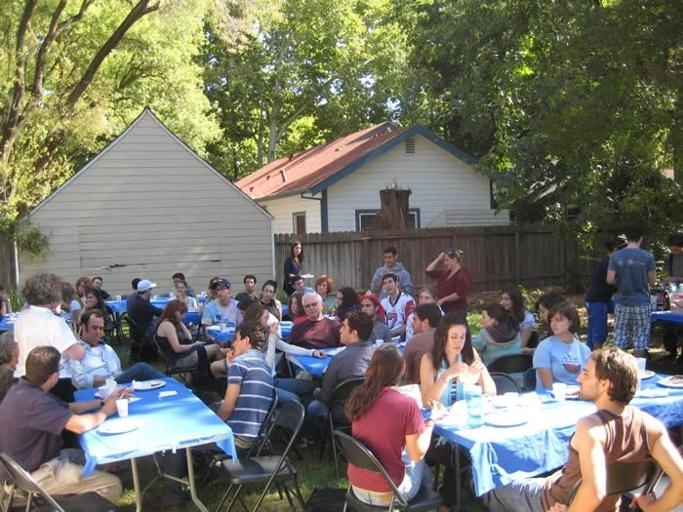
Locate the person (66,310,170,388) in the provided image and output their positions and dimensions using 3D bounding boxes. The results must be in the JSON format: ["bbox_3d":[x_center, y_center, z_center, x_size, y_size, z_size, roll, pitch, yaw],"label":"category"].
[{"bbox_3d":[-2.960,1.168,8.830,1.285,1.067,0.681,2,3,19],"label":"person"}]

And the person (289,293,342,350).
[{"bbox_3d":[-0.360,0.962,9.654,0.791,0.926,0.502,0,-5,1],"label":"person"}]

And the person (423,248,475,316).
[{"bbox_3d":[1.748,0.781,11.341,0.693,1.811,0.511,-2,-2,40],"label":"person"}]

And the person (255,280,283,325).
[{"bbox_3d":[-1.233,0.882,11.611,0.471,0.916,0.446,1,-3,-22],"label":"person"}]

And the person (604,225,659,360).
[{"bbox_3d":[4.397,0.556,10.442,0.663,1.905,0.429,-1,-3,26],"label":"person"}]

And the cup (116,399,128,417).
[{"bbox_3d":[-2.228,1.551,7.088,0.137,0.175,0.141,-3,-2,0],"label":"cup"}]

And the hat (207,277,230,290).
[{"bbox_3d":[-2.085,0.422,11.811,0.282,0.263,0.484,-3,-14,2],"label":"hat"}]

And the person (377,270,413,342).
[{"bbox_3d":[0.802,0.852,10.709,0.671,1.160,0.598,-9,-6,28],"label":"person"}]

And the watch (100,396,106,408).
[{"bbox_3d":[-2.527,1.546,7.307,0.066,0.062,0.072,-1,-2,20],"label":"watch"}]

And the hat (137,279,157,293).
[{"bbox_3d":[-3.843,0.580,13.529,0.309,0.194,0.229,-6,13,-37],"label":"hat"}]

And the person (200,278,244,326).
[{"bbox_3d":[-1.994,0.849,11.679,0.691,0.891,0.499,0,-1,-6],"label":"person"}]

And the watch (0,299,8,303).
[{"bbox_3d":[-6.232,0.841,12.708,0.098,0.126,0.104,-1,-1,32],"label":"watch"}]

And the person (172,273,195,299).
[{"bbox_3d":[-3.381,0.632,14.614,0.289,0.796,0.283,-17,-2,-34],"label":"person"}]

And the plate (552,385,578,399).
[{"bbox_3d":[2.357,1.429,7.248,0.201,0.177,0.199,-1,0,3],"label":"plate"}]

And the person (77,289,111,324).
[{"bbox_3d":[-4.259,0.856,11.743,0.539,0.893,0.477,-3,-1,-28],"label":"person"}]

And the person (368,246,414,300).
[{"bbox_3d":[0.846,0.616,11.818,0.649,1.456,0.430,1,-7,16],"label":"person"}]

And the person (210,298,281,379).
[{"bbox_3d":[-1.151,1.191,9.089,0.713,1.549,0.555,-8,-18,19],"label":"person"}]

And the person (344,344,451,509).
[{"bbox_3d":[0.469,1.594,6.562,0.845,1.504,0.502,0,-3,2],"label":"person"}]

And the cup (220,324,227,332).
[{"bbox_3d":[-1.856,1.116,10.779,0.070,0.097,0.076,0,-2,0],"label":"cup"}]

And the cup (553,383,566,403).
[{"bbox_3d":[2.267,1.409,7.159,0.138,0.167,0.129,-4,2,0],"label":"cup"}]

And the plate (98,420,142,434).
[{"bbox_3d":[-2.194,1.680,6.824,0.419,0.113,0.309,0,-5,-5],"label":"plate"}]
